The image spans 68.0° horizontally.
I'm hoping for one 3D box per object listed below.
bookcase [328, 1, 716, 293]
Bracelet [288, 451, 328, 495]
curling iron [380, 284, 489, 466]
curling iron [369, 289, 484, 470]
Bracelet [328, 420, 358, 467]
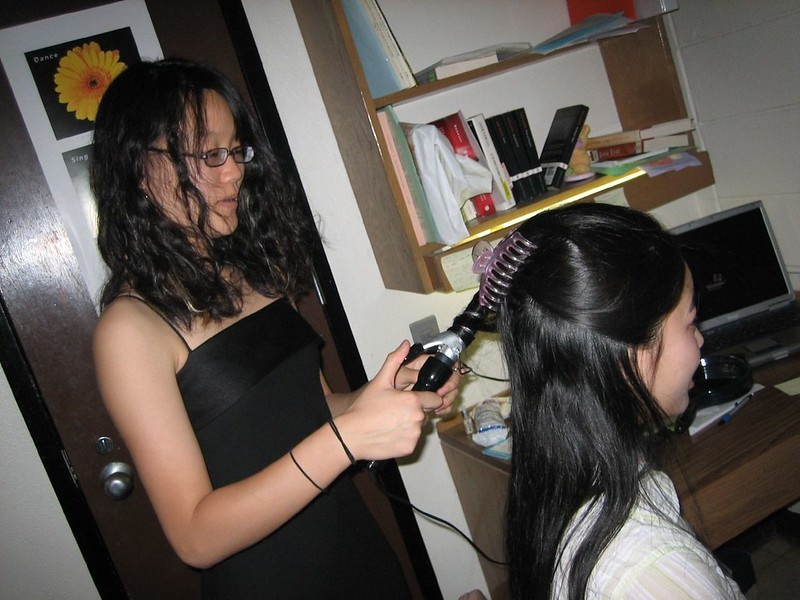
[{"bbox_3d":[0.314,-0.443,1.705,0.715,0.638,0.259,-28,10,-2],"label":"bookcase"},{"bbox_3d":[-0.190,0.351,1.201,0.054,0.103,0.036,-15,11,-11],"label":"Bracelet"},{"bbox_3d":[0.070,0.136,1.258,0.096,0.067,0.421,32,63,18],"label":"curling iron"},{"bbox_3d":[0.062,0.206,1.576,0.139,0.592,0.135,33,2,25],"label":"curling iron"},{"bbox_3d":[-0.117,0.299,1.214,0.037,0.110,0.043,-15,11,-10],"label":"Bracelet"}]
